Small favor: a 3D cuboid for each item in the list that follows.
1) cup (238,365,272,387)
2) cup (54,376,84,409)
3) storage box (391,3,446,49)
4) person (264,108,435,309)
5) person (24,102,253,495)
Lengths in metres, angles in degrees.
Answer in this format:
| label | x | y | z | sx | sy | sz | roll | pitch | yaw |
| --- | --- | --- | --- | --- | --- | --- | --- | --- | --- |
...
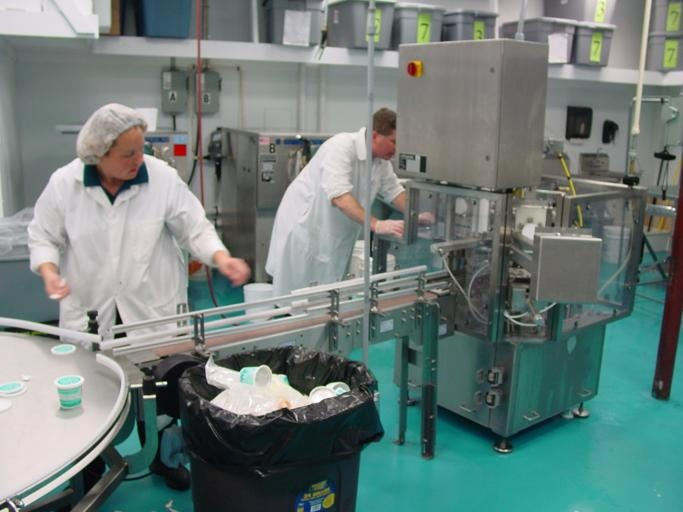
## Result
| label | x | y | z | sx | sy | sz | roll | pitch | yaw |
| --- | --- | --- | --- | --- | --- | --- | --- | --- | --- |
| cup | -0.272 | 0.382 | 1.861 | 0.087 | 0.068 | 0.097 | -3 | 16 | 17 |
| cup | -0.794 | 0.405 | 1.724 | 0.075 | 0.079 | 0.080 | 0 | 6 | 0 |
| storage box | 0.671 | -2.028 | 5.169 | 0.468 | 0.333 | 0.296 | -1 | 11 | 4 |
| person | 0.018 | -0.172 | 3.612 | 0.919 | 1.513 | 0.623 | 23 | 23 | 30 |
| person | -0.890 | -0.124 | 2.400 | 0.835 | 0.957 | 0.446 | -5 | 11 | -12 |
